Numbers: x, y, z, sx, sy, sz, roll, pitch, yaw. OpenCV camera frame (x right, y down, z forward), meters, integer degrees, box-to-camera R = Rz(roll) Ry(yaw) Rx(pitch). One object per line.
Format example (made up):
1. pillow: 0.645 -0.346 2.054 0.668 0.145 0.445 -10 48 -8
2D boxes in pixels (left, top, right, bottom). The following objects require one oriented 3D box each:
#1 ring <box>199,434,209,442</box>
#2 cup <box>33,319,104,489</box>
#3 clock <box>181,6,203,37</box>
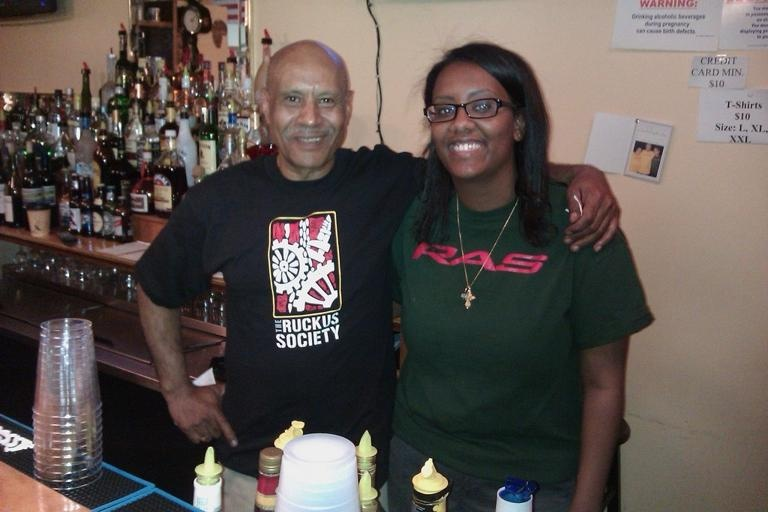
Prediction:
1. ring: -0.608 0.611 2.032 0.033 0.030 0.010 3 12 4
2. cup: -0.854 0.399 1.604 0.158 0.421 0.150 1 13 0
3. clock: -1.063 -1.316 3.378 0.161 0.153 0.039 7 7 37
